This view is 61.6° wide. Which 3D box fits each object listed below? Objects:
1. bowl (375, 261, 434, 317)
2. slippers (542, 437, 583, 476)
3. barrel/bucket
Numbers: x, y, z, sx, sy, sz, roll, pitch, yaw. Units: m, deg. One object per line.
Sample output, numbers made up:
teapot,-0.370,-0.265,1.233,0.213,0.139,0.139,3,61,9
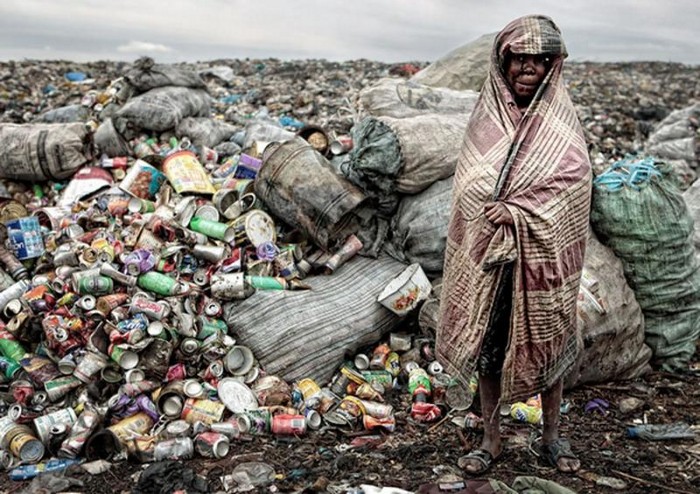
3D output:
bowl,0.448,0.395,4.961,0.500,0.255,0.423,-36,10,-28
slippers,1.433,1.401,4.013,0.184,0.121,0.329,-8,16,-14
barrel/bucket,-0.335,-0.408,5.075,0.914,0.608,0.585,40,1,15
